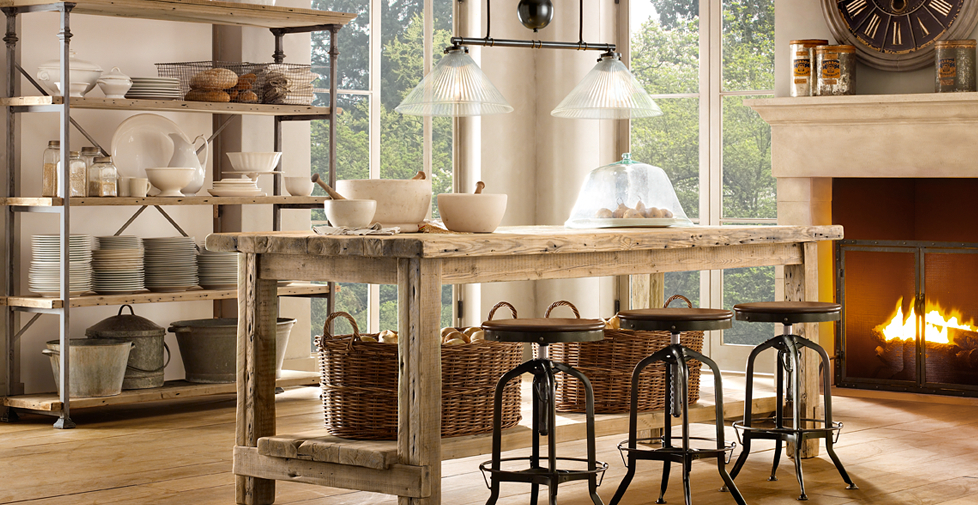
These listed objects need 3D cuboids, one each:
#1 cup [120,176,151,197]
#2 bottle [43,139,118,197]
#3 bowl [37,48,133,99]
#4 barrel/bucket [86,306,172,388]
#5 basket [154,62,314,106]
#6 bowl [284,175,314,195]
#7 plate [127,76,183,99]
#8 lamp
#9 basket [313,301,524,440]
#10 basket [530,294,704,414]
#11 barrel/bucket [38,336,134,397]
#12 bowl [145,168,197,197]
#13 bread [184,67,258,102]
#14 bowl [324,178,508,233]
[{"bbox_3d":[-2.718,-0.496,7.466,0.167,0.160,0.120,-2,1,-42],"label":"cup"},{"bbox_3d":[-3.065,-0.628,7.334,0.524,0.412,0.194,-1,1,-20],"label":"bottle"},{"bbox_3d":[-3.104,-1.302,7.445,0.440,0.258,0.673,-3,-5,40],"label":"bowl"},{"bbox_3d":[-3.011,0.768,7.832,0.806,0.595,0.666,2,-3,-27],"label":"barrel/bucket"},{"bbox_3d":[-1.970,-1.381,7.902,0.930,0.213,0.506,0,1,-2],"label":"basket"},{"bbox_3d":[-1.514,-0.522,8.006,0.288,0.129,0.254,-1,1,-23],"label":"bowl"},{"bbox_3d":[-2.609,-1.279,7.576,0.293,0.083,0.252,-1,0,-16],"label":"plate"},{"bbox_3d":[0.024,-1.234,6.695,2.313,0.860,0.736,1,0,-9],"label":"lamp"},{"bbox_3d":[-0.500,0.759,6.073,1.201,0.507,0.817,-1,0,-28],"label":"basket"},{"bbox_3d":[0.873,0.739,6.752,1.146,0.542,0.769,1,-3,-27],"label":"basket"},{"bbox_3d":[-3.019,0.862,7.432,0.628,0.279,0.507,0,-5,3],"label":"barrel/bucket"},{"bbox_3d":[-2.465,-0.555,7.583,0.319,0.146,0.294,-2,-3,0],"label":"bowl"},{"bbox_3d":[-2.136,-1.319,7.789,0.383,0.135,0.432,1,7,12],"label":"bread"},{"bbox_3d":[-0.385,-0.286,5.847,0.813,0.189,0.416,-1,0,3],"label":"bowl"}]
